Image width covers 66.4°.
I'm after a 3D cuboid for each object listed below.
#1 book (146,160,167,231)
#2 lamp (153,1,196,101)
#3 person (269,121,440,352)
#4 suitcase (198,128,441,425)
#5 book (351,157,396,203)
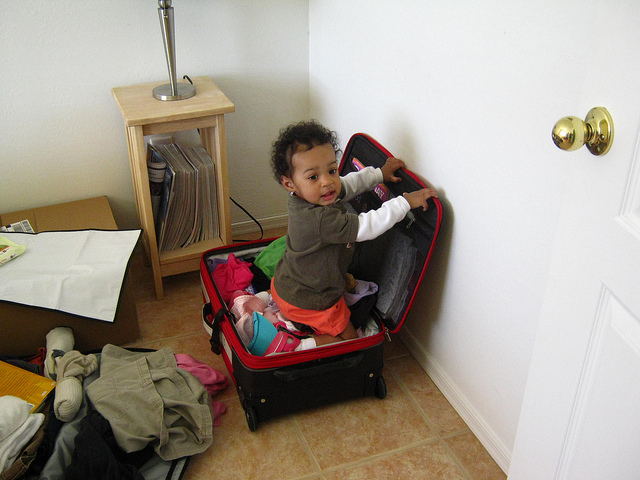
[{"bbox_3d":[-0.679,-0.187,2.048,0.105,0.280,0.069,16,29,34],"label":"book"},{"bbox_3d":[-0.589,-0.763,1.960,0.168,0.438,0.175,26,40,26],"label":"lamp"},{"bbox_3d":[0.100,-0.008,1.693,0.575,0.785,0.480,-24,34,-34],"label":"person"},{"bbox_3d":[-0.050,0.043,1.741,0.715,0.931,0.751,-13,38,-34],"label":"suitcase"},{"bbox_3d":[0.192,-0.192,1.710,0.037,0.167,0.156,-25,53,-25],"label":"book"}]
